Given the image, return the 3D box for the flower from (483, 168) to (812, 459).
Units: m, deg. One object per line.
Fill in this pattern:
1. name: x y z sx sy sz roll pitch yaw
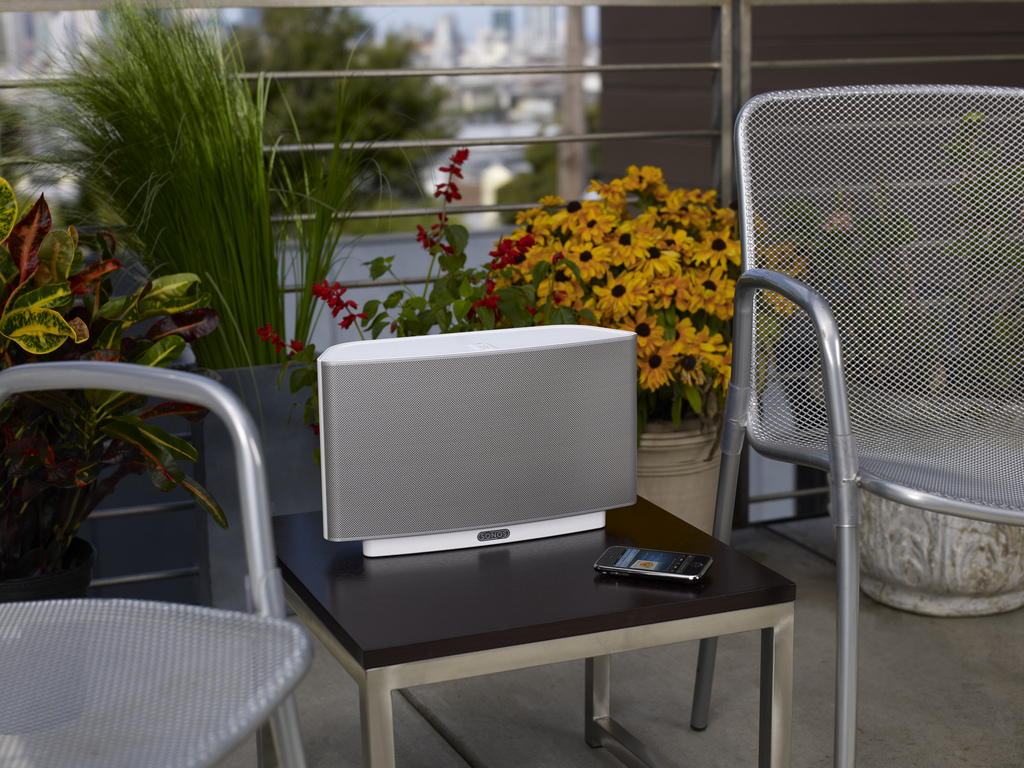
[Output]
1. flower: 0.229 -0.217 1.986 0.506 0.500 0.535 -8 18 -20

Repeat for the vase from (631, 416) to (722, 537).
1. vase: 0.402 0.211 2.207 0.187 0.278 0.200 -8 14 -29
